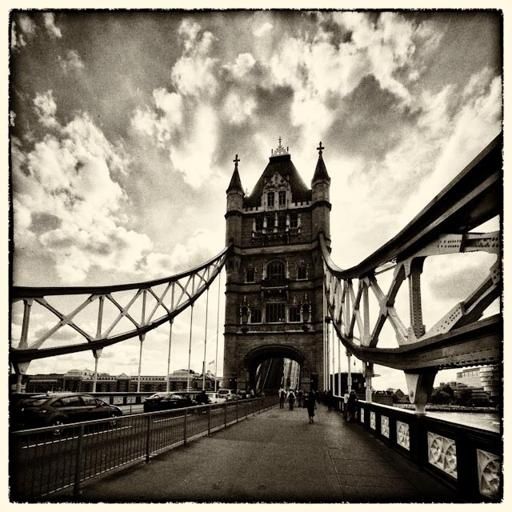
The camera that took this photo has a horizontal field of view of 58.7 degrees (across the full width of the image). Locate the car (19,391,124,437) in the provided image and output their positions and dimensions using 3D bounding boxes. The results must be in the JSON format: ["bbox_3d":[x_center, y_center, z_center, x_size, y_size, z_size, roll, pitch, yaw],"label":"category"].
[{"bbox_3d":[-4.964,4.049,12.009,0.680,0.753,2.930,-2,-14,21],"label":"car"}]
